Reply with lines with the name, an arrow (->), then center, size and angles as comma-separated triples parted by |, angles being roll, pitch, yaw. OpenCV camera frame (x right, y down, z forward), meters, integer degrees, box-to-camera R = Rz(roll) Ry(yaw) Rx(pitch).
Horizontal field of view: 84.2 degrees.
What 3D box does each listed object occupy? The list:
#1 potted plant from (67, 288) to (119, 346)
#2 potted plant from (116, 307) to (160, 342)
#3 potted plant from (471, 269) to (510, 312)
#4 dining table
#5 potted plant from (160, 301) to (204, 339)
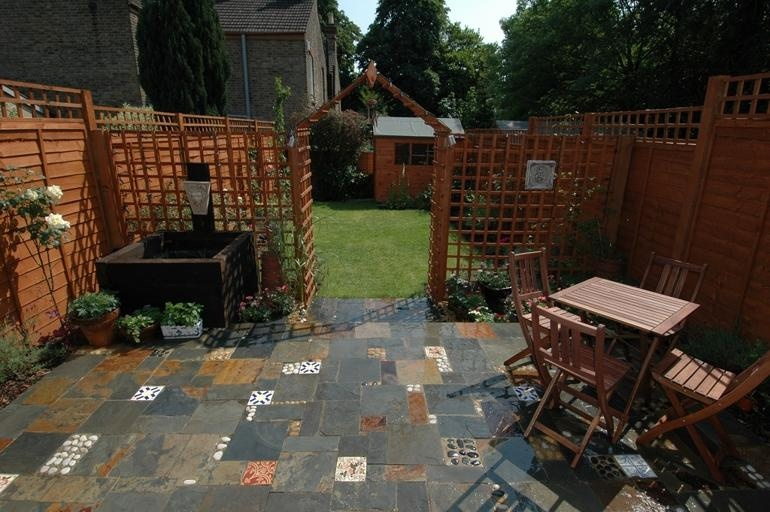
potted plant -> -4.151, 0.948, 6.127 | 0.516, 0.542, 0.604 | -9, 2, -42
potted plant -> -3.669, 1.001, 6.251 | 0.572, 0.326, 0.544 | 11, 12, 30
potted plant -> 1.819, 0.606, 7.642 | 0.786, 0.649, 0.710 | 2, 6, 10
dining table -> 3.061, 1.163, 5.679 | 1.534, 1.164, 1.750 | -19, 27, -35
potted plant -> -2.942, 0.931, 6.456 | 0.729, 0.565, 0.544 | 0, 10, -10
